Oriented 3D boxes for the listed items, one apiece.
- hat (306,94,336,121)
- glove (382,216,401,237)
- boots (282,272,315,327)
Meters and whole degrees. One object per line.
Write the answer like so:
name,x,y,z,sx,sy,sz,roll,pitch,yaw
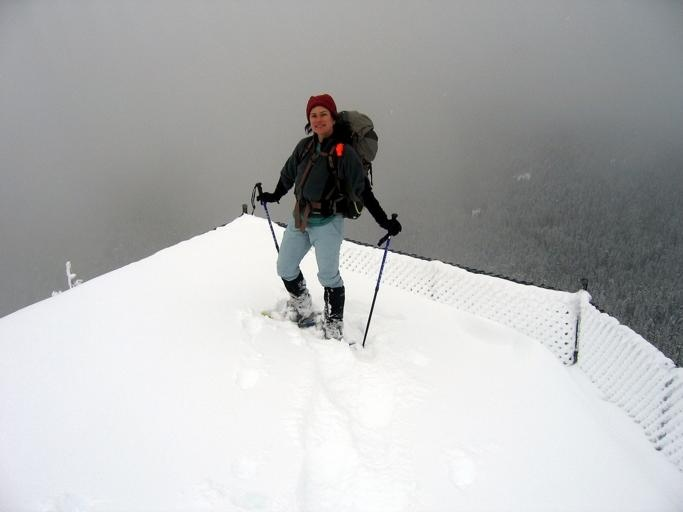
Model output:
hat,-0.196,-1.472,5.197,0.298,0.288,0.151,1,27,-1
glove,0.444,-0.274,4.654,0.101,0.196,0.127,0,66,-1
boots,-0.445,0.465,5.876,0.391,0.434,0.190,-18,19,-3
